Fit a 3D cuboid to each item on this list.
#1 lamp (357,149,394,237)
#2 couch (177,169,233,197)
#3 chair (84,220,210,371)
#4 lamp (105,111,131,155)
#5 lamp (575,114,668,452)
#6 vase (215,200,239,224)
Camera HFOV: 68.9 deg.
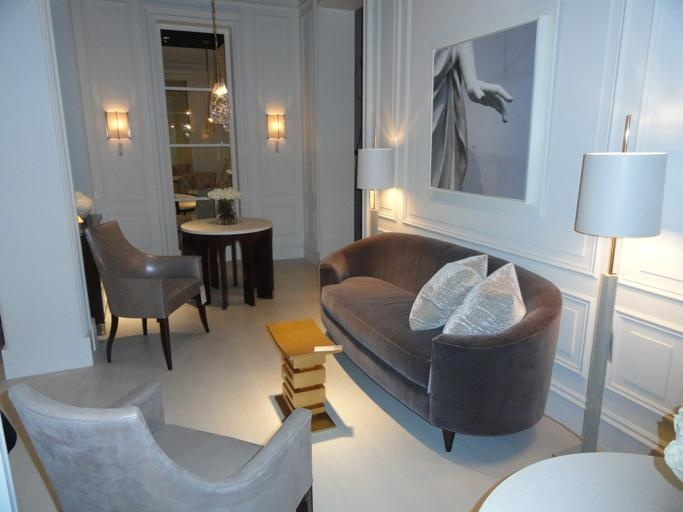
[{"bbox_3d":[0.346,-0.591,4.759,0.353,0.875,0.539,-1,15,11],"label":"lamp"},{"bbox_3d":[-1.785,-0.950,6.341,0.985,0.336,0.423,-5,14,-18],"label":"couch"},{"bbox_3d":[-1.612,0.235,4.540,1.037,1.547,1.065,3,11,8],"label":"chair"},{"bbox_3d":[-2.612,-1.441,5.832,0.270,0.508,0.071,-11,16,-25],"label":"lamp"},{"bbox_3d":[1.388,0.248,2.591,0.392,1.893,0.265,-8,15,-18],"label":"lamp"},{"bbox_3d":[-1.164,-0.457,5.131,0.218,0.273,0.219,-11,20,-34],"label":"vase"}]
